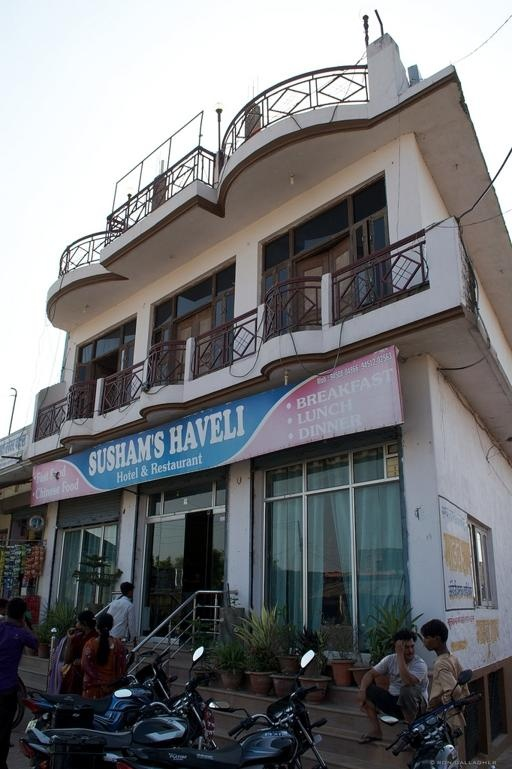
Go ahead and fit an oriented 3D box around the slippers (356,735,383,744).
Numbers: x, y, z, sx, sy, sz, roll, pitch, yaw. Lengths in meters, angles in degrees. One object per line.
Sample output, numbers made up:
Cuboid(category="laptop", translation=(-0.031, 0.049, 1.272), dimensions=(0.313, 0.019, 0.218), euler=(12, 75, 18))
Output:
Cuboid(category="slippers", translation=(1.047, 3.210, 4.868), dimensions=(0.157, 0.043, 0.087), euler=(0, -10, 24))
